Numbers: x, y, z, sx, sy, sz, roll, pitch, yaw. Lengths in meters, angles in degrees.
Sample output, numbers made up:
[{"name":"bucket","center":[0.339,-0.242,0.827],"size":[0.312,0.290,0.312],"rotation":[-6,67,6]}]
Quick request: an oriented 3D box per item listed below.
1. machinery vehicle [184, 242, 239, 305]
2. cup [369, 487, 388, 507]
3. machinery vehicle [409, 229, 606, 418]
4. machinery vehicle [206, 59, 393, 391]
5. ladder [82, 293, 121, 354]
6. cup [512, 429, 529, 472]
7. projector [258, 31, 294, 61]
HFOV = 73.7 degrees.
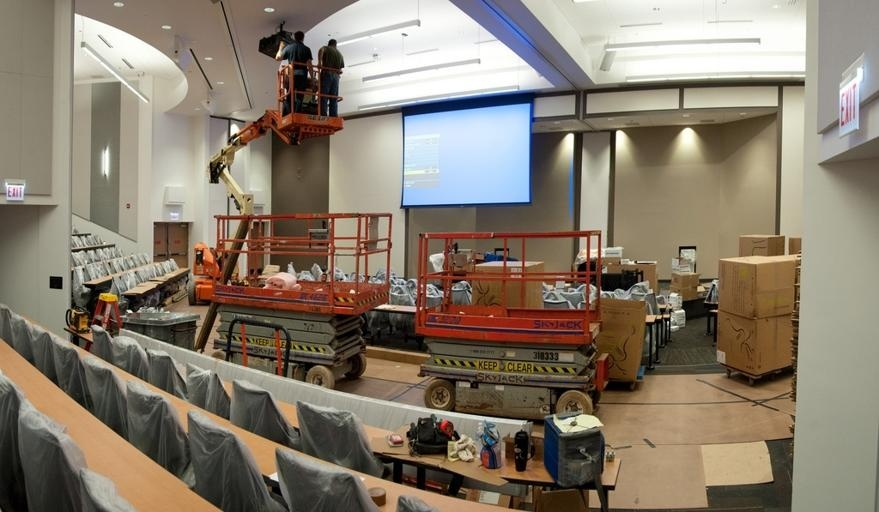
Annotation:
[{"name":"machinery vehicle","center":[-5.144,0.421,13.207],"size":[0.984,1.566,1.660],"rotation":[0,3,-8]},{"name":"cup","center":[-0.560,2.195,5.402],"size":[0.168,0.093,0.162],"rotation":[-1,6,0]},{"name":"machinery vehicle","center":[1.175,1.028,8.784],"size":[2.665,2.546,1.452],"rotation":[1,2,17]},{"name":"machinery vehicle","center":[-2.731,-0.519,10.141],"size":[4.099,5.165,2.059],"rotation":[2,6,22]},{"name":"ladder","center":[-5.267,1.009,9.317],"size":[0.542,0.747,0.578],"rotation":[5,2,33]},{"name":"cup","center":[0.839,1.980,5.984],"size":[0.162,0.367,0.162],"rotation":[1,0,0]},{"name":"projector","center":[-3.229,-4.111,11.512],"size":[0.539,0.253,0.700],"rotation":[-12,7,-43]}]
